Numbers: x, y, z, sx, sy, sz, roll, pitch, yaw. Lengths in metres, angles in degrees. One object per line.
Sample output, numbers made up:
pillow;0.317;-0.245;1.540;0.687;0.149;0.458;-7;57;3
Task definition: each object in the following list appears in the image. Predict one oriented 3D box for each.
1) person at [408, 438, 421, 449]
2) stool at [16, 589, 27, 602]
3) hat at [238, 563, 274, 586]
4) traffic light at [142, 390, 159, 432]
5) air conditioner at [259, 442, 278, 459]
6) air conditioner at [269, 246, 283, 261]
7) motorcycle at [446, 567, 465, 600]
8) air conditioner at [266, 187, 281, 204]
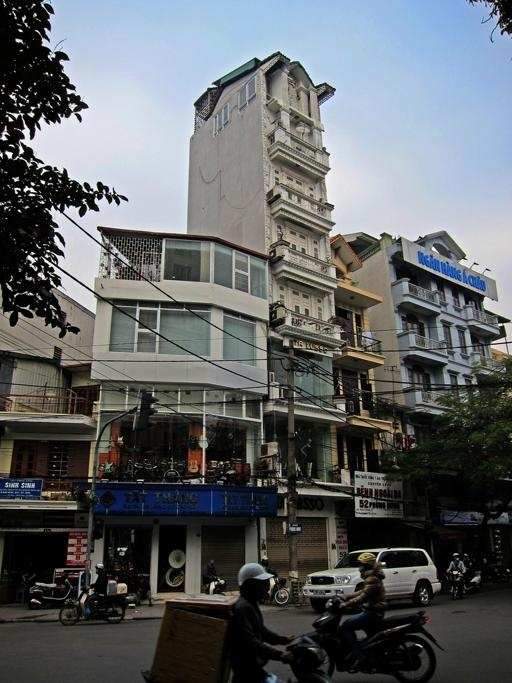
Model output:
person;8.723;5.619;29.882;0.616;0.897;0.534;1;-19;2
stool;-8.625;9.410;20.054;0.253;0.468;0.744;11;-22;-32
hat;-0.015;1.538;3.607;0.251;0.119;0.175;-16;-21;-5
traffic light;-3.308;2.090;16.753;0.452;1.201;0.828;2;-19;-9
air conditioner;0.595;4.755;23.633;0.728;0.684;1.261;-1;-8;-4
air conditioner;1.058;-4.344;27.154;0.591;0.659;0.374;-26;-49;34
motorcycle;7.036;8.537;18.971;0.492;0.867;1.328;-7;-19;17
air conditioner;0.957;-7.471;27.981;0.428;0.679;0.746;16;-29;-30
